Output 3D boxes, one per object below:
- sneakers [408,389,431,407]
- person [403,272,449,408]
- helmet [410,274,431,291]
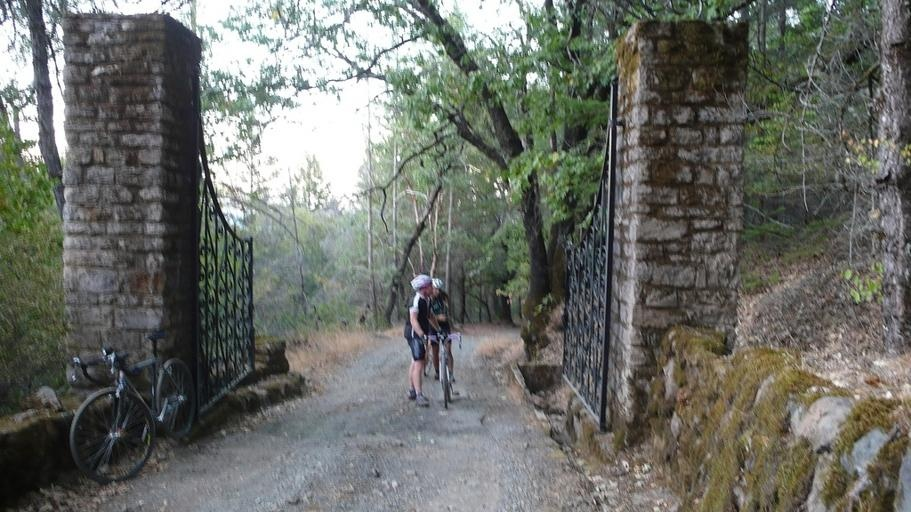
[{"bbox_3d":[-0.729,2.774,13.892,0.193,0.245,0.484,2,-3,-43],"label":"sneakers"},{"bbox_3d":[-0.693,1.584,14.005,0.590,2.544,1.176,-2,9,-3],"label":"person"},{"bbox_3d":[-0.679,0.523,13.766,0.355,0.377,0.592,-2,9,-2],"label":"helmet"}]
